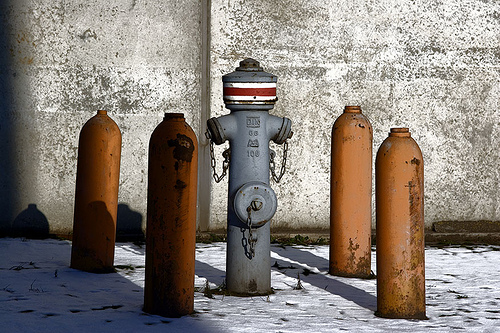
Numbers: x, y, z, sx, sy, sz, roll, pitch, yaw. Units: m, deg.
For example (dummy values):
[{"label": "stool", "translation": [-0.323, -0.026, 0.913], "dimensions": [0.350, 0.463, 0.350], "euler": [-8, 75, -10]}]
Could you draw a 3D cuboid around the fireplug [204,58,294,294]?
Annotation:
[{"label": "fireplug", "translation": [-0.012, 0.091, 6.809], "dimensions": [0.816, 2.292, 0.464], "euler": [2, 10, 2]}]

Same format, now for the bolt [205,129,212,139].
[{"label": "bolt", "translation": [-0.412, -0.320, 6.721], "dimensions": [0.057, 0.084, 0.024], "euler": [-1, 6, 4]}]
